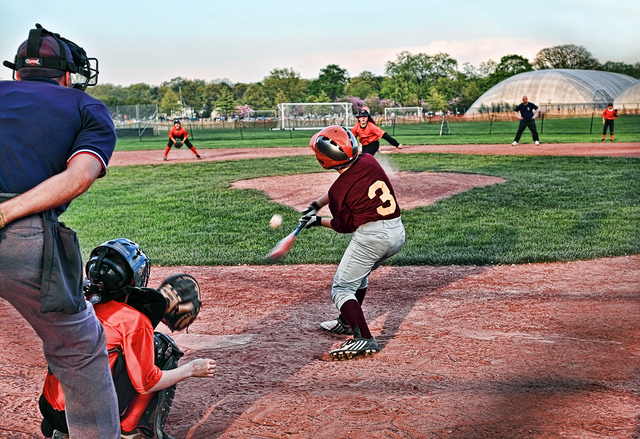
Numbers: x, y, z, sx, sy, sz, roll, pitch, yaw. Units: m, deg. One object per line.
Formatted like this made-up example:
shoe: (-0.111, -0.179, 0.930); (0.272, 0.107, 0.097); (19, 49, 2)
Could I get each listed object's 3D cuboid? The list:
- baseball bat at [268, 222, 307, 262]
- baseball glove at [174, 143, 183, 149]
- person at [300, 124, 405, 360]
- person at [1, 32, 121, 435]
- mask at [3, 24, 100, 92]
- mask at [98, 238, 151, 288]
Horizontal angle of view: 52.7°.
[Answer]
baseball bat: (-0.270, 0.173, 5.799); (0.169, 0.076, 0.545); (38, 53, 14)
baseball glove: (-4.925, -2.583, 22.367); (0.354, 0.152, 0.404); (1, 3, -9)
person: (0.280, 0.112, 5.786); (0.901, 1.887, 1.498); (-2, 11, -1)
person: (-1.477, 0.084, 3.710); (0.656, 2.320, 0.654); (-4, 12, -9)
mask: (-1.625, -0.971, 3.880); (0.491, 0.398, 0.340); (-5, 11, -21)
mask: (-1.277, 0.328, 4.076); (0.354, 0.305, 0.390); (0, 11, -4)
